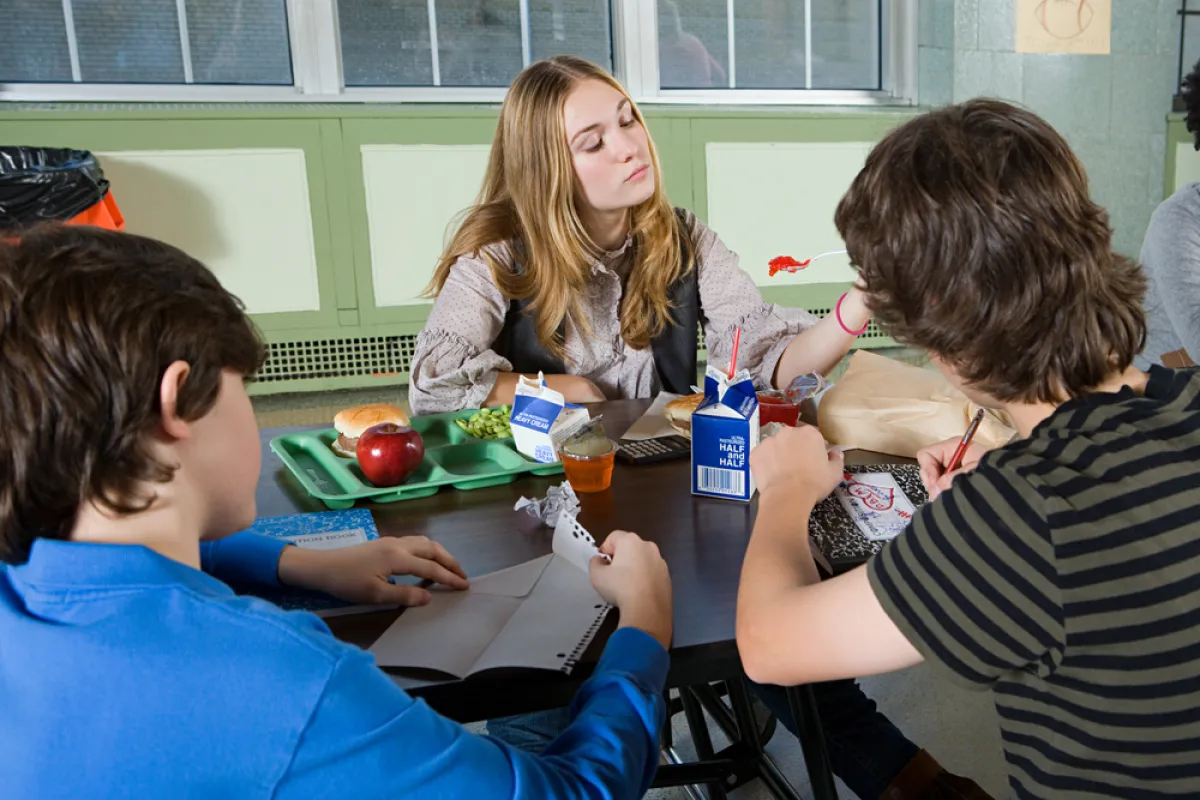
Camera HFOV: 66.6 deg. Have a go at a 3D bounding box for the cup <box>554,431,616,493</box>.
[{"bbox_3d":[-0.020,0.100,1.460,0.089,0.099,0.082,-3,10,1],"label":"cup"}]

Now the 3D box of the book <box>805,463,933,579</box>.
[{"bbox_3d":[0.373,0.166,1.275,0.142,0.035,0.140,-7,24,-2],"label":"book"}]

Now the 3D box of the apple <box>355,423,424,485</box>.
[{"bbox_3d":[-0.347,0.068,1.505,0.100,0.084,0.177,1,12,3],"label":"apple"}]

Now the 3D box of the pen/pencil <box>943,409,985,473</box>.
[{"bbox_3d":[0.548,0.063,1.378,0.017,0.098,0.014,34,14,31],"label":"pen/pencil"}]
